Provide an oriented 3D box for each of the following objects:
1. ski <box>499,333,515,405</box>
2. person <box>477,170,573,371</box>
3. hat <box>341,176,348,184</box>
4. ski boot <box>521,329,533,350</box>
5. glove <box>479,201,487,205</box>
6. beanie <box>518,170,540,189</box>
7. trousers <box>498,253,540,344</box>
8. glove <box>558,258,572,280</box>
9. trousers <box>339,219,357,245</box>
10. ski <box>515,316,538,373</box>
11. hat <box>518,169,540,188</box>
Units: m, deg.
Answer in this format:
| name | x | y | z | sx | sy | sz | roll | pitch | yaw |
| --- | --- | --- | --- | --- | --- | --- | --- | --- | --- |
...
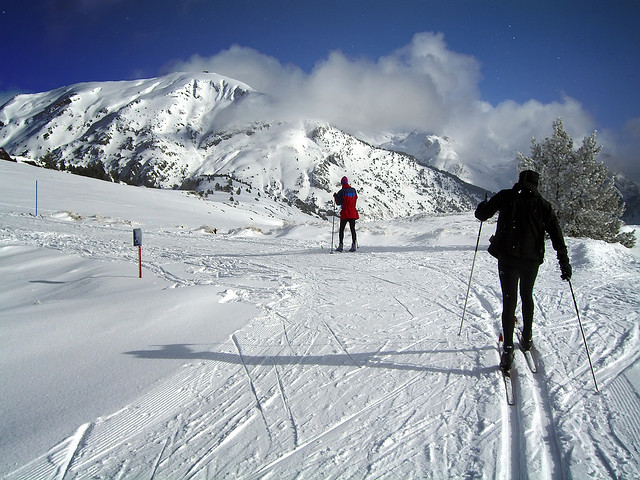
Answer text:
| name | x | y | z | sx | sy | sz | roll | pitch | yaw |
| --- | --- | --- | --- | --- | --- | --- | --- | --- | --- |
| ski | 2.658 | 1.791 | 6.411 | 0.153 | 0.158 | 1.433 | -7 | 26 | 24 |
| person | 3.007 | 0.350 | 6.620 | 0.967 | 2.735 | 0.954 | -1 | 8 | -4 |
| hat | 0.800 | -2.016 | 15.257 | 0.249 | 0.168 | 0.323 | 4 | 41 | -27 |
| ski boot | 3.129 | 1.502 | 6.693 | 0.100 | 0.326 | 0.220 | 10 | 6 | 17 |
| glove | 2.533 | -0.578 | 6.943 | 0.084 | 0.022 | 0.083 | -8 | 10 | -10 |
| beanie | 3.093 | -0.893 | 6.644 | 0.222 | 0.251 | 0.249 | 1 | -1 | -16 |
| trousers | 2.860 | 0.845 | 6.455 | 0.543 | 1.287 | 0.524 | 1 | 8 | 10 |
| glove | 3.517 | 0.422 | 6.433 | 0.146 | 0.357 | 0.331 | 3 | 9 | 28 |
| trousers | 0.888 | -0.261 | 14.417 | 0.569 | 0.867 | 0.632 | -2 | 8 | -8 |
| ski | 3.085 | 1.590 | 6.711 | 0.100 | 0.097 | 0.920 | -14 | 47 | 19 |
| hat | 3.066 | -0.896 | 6.627 | 0.248 | 0.274 | 0.276 | -5 | -5 | -25 |
